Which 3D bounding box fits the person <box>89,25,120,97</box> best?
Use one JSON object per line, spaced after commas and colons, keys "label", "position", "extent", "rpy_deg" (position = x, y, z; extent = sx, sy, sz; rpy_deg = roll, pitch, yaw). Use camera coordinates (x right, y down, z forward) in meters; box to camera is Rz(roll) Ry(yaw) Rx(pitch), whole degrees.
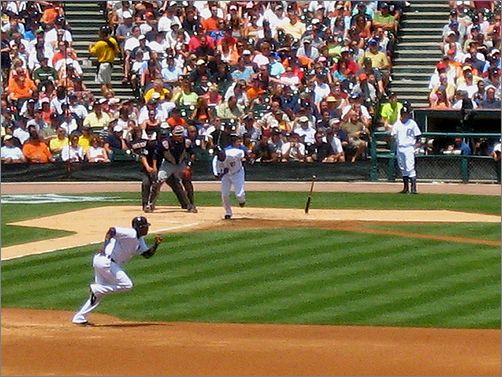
{"label": "person", "position": [-4.834, -4.211, 35.700], "extent": [0.901, 2.245, 1.436], "rpy_deg": [-1, 6, -7]}

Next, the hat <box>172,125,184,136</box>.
{"label": "hat", "position": [-1.902, -1.522, 28.167], "extent": [0.219, 0.223, 0.294], "rpy_deg": [-9, 5, -26]}

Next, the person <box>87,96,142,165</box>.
{"label": "person", "position": [-4.421, -1.751, 33.280], "extent": [1.474, 1.825, 0.809], "rpy_deg": [0, 6, -6]}

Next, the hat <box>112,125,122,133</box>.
{"label": "hat", "position": [-4.066, -1.860, 33.049], "extent": [0.284, 0.208, 0.287], "rpy_deg": [-1, 5, -13]}

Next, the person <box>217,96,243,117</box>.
{"label": "person", "position": [-0.652, -2.530, 33.397], "extent": [0.634, 0.517, 0.721], "rpy_deg": [-5, 29, -21]}

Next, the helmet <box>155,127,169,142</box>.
{"label": "helmet", "position": [-2.313, -1.429, 28.446], "extent": [0.362, 0.345, 0.458], "rpy_deg": [0, 5, -5]}

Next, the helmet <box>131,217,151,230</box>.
{"label": "helmet", "position": [-2.207, 0.660, 21.564], "extent": [0.305, 0.153, 0.221], "rpy_deg": [-3, 10, 1]}

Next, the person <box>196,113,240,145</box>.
{"label": "person", "position": [-0.974, -1.785, 32.602], "extent": [1.608, 0.483, 0.586], "rpy_deg": [-9, -36, 11]}

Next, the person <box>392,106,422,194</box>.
{"label": "person", "position": [4.595, -1.119, 31.677], "extent": [0.593, 2.517, 0.739], "rpy_deg": [-5, 7, -39]}

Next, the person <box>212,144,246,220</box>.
{"label": "person", "position": [-0.566, -0.218, 27.490], "extent": [0.779, 1.952, 1.067], "rpy_deg": [0, 6, -2]}

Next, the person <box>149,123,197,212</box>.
{"label": "person", "position": [-2.000, -0.531, 28.602], "extent": [0.910, 2.277, 0.996], "rpy_deg": [2, 6, 20]}

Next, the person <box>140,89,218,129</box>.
{"label": "person", "position": [-2.187, -2.409, 33.114], "extent": [1.739, 1.146, 0.385], "rpy_deg": [6, -20, 0]}
